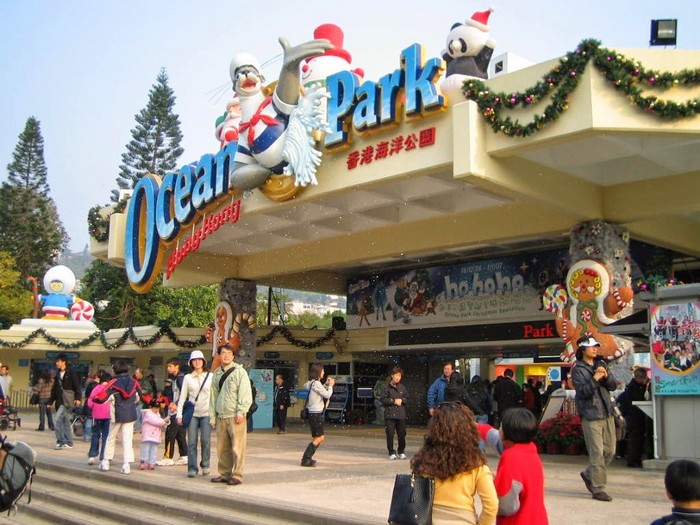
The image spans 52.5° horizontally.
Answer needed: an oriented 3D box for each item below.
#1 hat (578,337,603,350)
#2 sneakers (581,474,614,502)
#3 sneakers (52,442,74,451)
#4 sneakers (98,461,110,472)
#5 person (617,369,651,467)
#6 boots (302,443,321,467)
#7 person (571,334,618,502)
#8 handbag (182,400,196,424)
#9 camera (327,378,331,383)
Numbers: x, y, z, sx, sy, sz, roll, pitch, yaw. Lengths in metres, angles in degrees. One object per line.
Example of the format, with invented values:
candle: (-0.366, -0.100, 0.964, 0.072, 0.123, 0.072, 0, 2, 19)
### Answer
hat: (4.451, 1.482, 13.009, 0.467, 0.234, 0.686, 1, -6, -10)
sneakers: (3.920, 3.526, 11.239, 0.219, 0.296, 0.667, -13, 6, -17)
sneakers: (-7.311, 4.678, 18.074, 0.170, 0.180, 0.415, -6, -24, 12)
sneakers: (-4.863, 4.025, 14.004, 0.203, 0.121, 0.244, 42, 10, -25)
person: (6.184, 3.297, 15.257, 0.564, 2.046, 1.129, -6, -12, 34)
boots: (-0.838, 3.973, 14.715, 0.332, 0.470, 0.587, 1, -10, -4)
person: (3.938, 2.506, 11.296, 0.701, 2.429, 0.398, 0, -10, 4)
handbag: (-3.104, 2.885, 13.647, 0.107, 0.430, 0.224, 8, -5, -17)
camera: (-0.413, 2.550, 15.308, 0.079, 0.117, 0.116, 2, -10, -15)
